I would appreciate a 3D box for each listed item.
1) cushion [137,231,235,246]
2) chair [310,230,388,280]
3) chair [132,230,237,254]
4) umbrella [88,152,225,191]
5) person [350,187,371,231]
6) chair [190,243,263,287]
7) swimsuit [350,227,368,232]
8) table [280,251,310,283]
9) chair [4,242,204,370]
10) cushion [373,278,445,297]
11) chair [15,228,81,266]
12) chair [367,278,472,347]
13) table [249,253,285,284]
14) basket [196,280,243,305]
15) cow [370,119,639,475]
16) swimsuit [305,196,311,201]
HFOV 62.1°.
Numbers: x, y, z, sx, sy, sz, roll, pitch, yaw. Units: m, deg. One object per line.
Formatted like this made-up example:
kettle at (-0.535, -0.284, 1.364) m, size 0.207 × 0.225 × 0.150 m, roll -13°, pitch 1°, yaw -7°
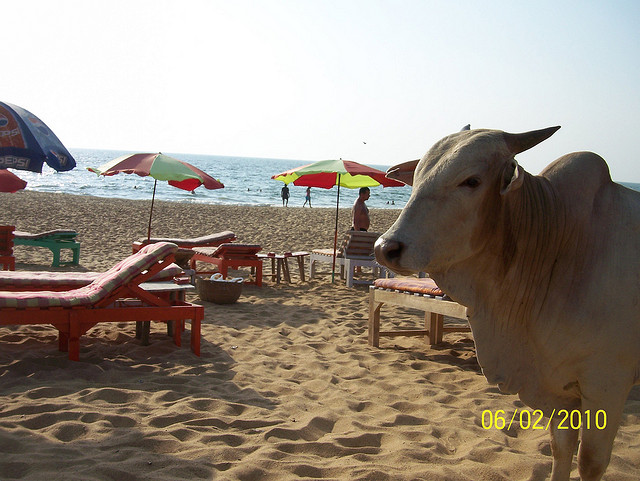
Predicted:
cushion at (-2.729, -0.003, 11.315) m, size 1.529 × 0.276 × 0.678 m, roll 1°, pitch 2°, yaw -24°
chair at (0.577, 0.347, 10.648) m, size 0.948 × 0.833 × 1.531 m, roll 1°, pitch -1°, yaw -28°
chair at (-2.811, 0.029, 11.269) m, size 1.790 × 0.495 × 0.823 m, roll 0°, pitch 2°, yaw -19°
umbrella at (-2.964, -1.315, 9.793) m, size 2.059 × 0.577 × 1.182 m, roll 3°, pitch 6°, yaw -5°
person at (0.867, -0.636, 11.054) m, size 0.343 × 0.938 × 0.800 m, roll 7°, pitch 7°, yaw 4°
chair at (-1.901, 0.449, 10.553) m, size 0.880 × 0.731 × 2.252 m, roll 1°, pitch 2°, yaw -25°
swimsuit at (0.845, -0.220, 11.217) m, size 0.219 × 0.158 × 0.206 m, roll 1°, pitch 2°, yaw 29°
table at (-0.472, 0.541, 10.539) m, size 0.665 × 0.490 × 0.600 m, roll -4°, pitch 4°, yaw -25°
chair at (-2.432, 0.581, 5.697) m, size 2.191 × 0.941 × 1.090 m, roll 5°, pitch -3°, yaw -27°
cushion at (0.966, 0.501, 5.774) m, size 0.496 × 0.044 × 0.455 m, roll -1°, pitch 4°, yaw -45°
chair at (-6.114, 0.117, 11.563) m, size 1.969 × 0.643 × 0.623 m, roll 7°, pitch 0°, yaw 28°
chair at (1.092, 0.979, 6.479) m, size 1.055 × 0.556 × 1.325 m, roll 17°, pitch -11°, yaw 14°
table at (-1.061, 0.615, 10.581) m, size 0.750 × 0.413 × 0.515 m, roll 4°, pitch -5°, yaw 2°
basket at (-1.538, 0.785, 8.072) m, size 0.539 × 0.186 × 0.456 m, roll 0°, pitch -3°, yaw 5°
cow at (0.993, 0.369, 2.712) m, size 1.264 × 1.853 × 0.646 m, roll 6°, pitch 7°, yaw 4°
swimsuit at (-0.761, -2.958, 38.159) m, size 0.384 × 0.413 × 0.278 m, roll 0°, pitch 5°, yaw -3°
